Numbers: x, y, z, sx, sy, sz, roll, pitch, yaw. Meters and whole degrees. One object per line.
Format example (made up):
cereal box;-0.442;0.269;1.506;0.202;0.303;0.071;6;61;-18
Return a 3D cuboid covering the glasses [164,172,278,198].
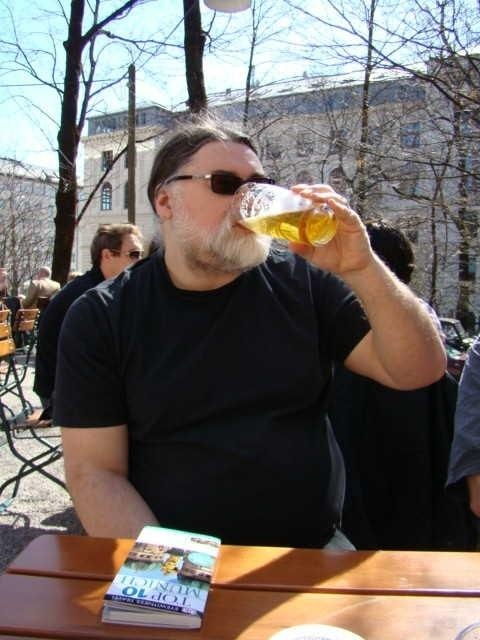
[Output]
glasses;-0.053;-0.441;1.785;0.171;0.045;0.162;0;-5;-34

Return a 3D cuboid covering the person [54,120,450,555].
person;-0.101;0.004;1.731;0.914;1.359;0.654;-1;5;-24

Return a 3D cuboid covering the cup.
cup;0.105;-0.314;1.578;0.179;0.196;0.329;-3;6;-41
